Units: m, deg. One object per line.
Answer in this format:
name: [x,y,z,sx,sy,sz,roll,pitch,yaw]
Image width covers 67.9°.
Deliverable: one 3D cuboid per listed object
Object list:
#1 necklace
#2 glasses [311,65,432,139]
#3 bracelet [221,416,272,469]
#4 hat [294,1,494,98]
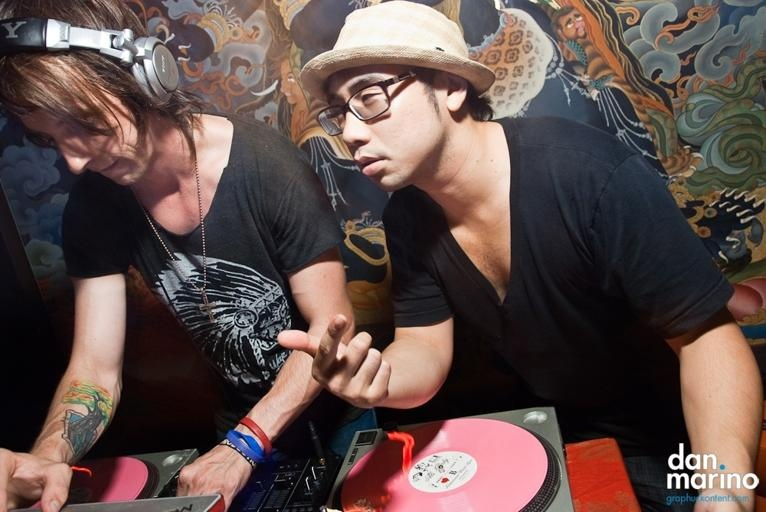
necklace: [-0.646,-0.084,1.781,0.158,0.566,0.024,-12,11,8]
glasses: [-0.064,-0.422,1.593,0.202,0.063,0.211,-21,10,46]
bracelet: [-0.363,0.513,1.571,0.122,0.063,0.101,36,10,-37]
hat: [0.037,-0.583,1.609,0.356,0.134,0.327,11,-15,-20]
